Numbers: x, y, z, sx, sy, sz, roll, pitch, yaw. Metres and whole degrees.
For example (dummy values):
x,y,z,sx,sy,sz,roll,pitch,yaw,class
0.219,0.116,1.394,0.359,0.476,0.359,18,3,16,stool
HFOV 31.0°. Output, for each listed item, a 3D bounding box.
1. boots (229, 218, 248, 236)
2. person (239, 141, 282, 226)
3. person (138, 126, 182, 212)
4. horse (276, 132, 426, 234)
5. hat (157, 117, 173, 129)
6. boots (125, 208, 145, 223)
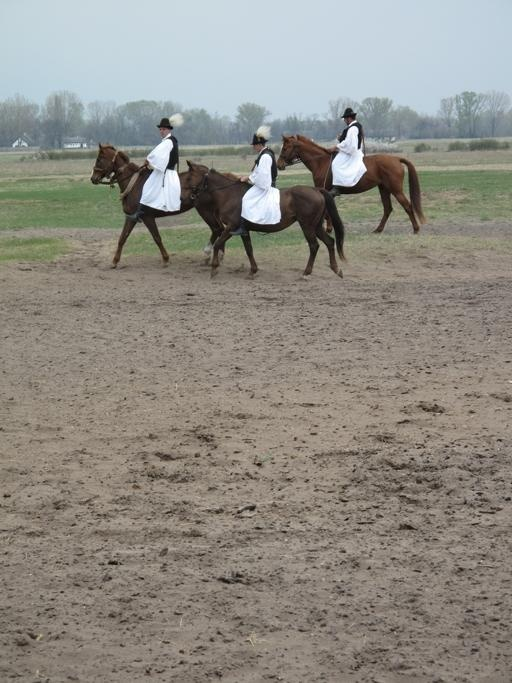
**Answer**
x,y,z,sx,sy,sz,roll,pitch,yaw,class
-0.227,-1.859,14.911,0.399,0.302,0.148,1,26,-3,boots
0.149,-2.427,14.584,0.654,1.174,0.454,4,11,14,person
-1.621,-2.889,15.822,0.696,1.349,0.536,0,11,-8,person
2.075,-3.254,18.958,3.357,1.755,0.737,9,19,23,horse
-1.514,-3.704,15.519,0.377,0.129,0.381,2,-1,-4,hat
-2.069,-2.175,16.052,0.277,0.228,0.186,8,1,9,boots
